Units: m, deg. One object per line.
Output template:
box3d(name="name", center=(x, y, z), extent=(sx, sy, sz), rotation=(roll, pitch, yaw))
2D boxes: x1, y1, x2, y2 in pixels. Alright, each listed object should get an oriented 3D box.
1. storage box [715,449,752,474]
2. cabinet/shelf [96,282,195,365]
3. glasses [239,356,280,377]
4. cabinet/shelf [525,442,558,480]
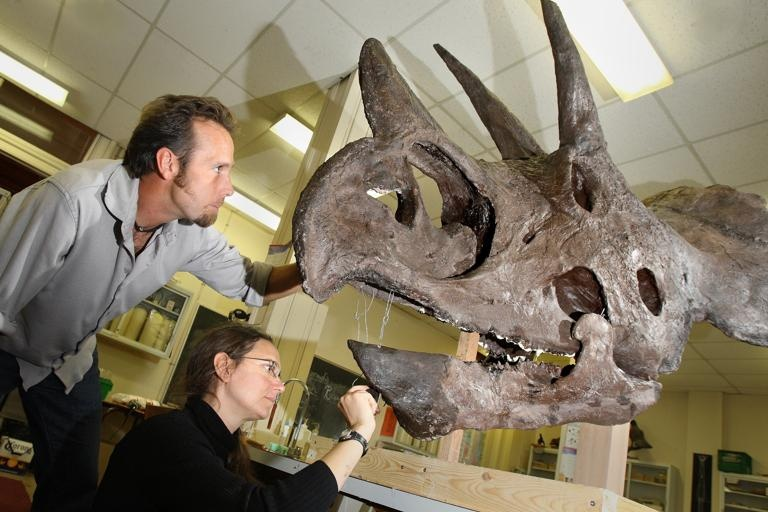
box3d(name="storage box", center=(6.050, 3.506, 8.323), extent=(0.437, 0.272, 0.227), rotation=(5, -14, 7))
box3d(name="cabinet/shelf", center=(-3.253, 0.734, 6.400), extent=(0.410, 0.924, 1.079), rotation=(18, -11, 12))
box3d(name="glasses", center=(-0.541, 0.489, 2.162), extent=(0.120, 0.034, 0.112), rotation=(-11, -32, 24))
box3d(name="cabinet/shelf", center=(3.096, 3.907, 9.396), extent=(0.502, 0.569, 0.602), rotation=(1, -26, 21))
